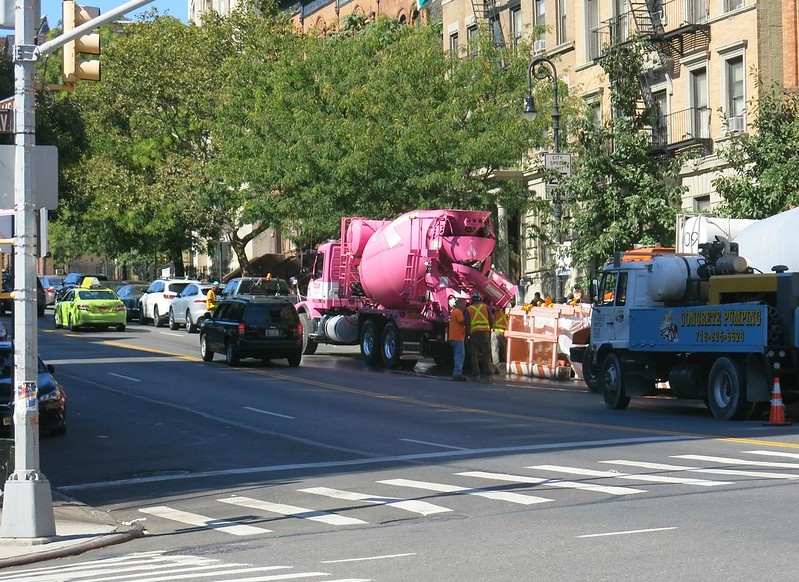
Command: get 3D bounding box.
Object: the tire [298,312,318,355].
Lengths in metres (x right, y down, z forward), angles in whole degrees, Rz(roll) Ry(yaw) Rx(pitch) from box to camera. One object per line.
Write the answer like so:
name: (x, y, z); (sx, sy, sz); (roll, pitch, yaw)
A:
tire: (-2.535, 1.175, 41.126); (0.443, 1.195, 1.215); (-2, -3, -21)

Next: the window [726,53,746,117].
window: (10.163, -5.956, 43.644); (0.191, 1.832, 0.751); (0, -2, -22)

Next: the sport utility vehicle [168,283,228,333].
sport utility vehicle: (-6.775, 0.584, 51.580); (1.819, 1.777, 4.343); (0, 1, -21)

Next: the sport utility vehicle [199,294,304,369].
sport utility vehicle: (-3.933, 1.075, 39.451); (2.214, 1.696, 4.157); (-1, 3, -26)

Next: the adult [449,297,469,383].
adult: (1.471, 1.193, 36.154); (0.461, 1.975, 0.759); (-2, 6, 3)

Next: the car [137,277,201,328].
car: (-8.694, 0.376, 53.737); (1.495, 1.531, 3.794); (0, 0, -33)

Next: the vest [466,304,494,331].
vest: (1.990, 0.664, 36.346); (0.578, 0.732, 0.407); (2, -23, -10)

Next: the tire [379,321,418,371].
tire: (0.007, 1.448, 38.976); (0.603, 1.413, 1.438); (0, -2, -23)

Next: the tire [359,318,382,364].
tire: (-0.738, 1.369, 39.929); (0.452, 1.239, 1.261); (2, -2, -23)

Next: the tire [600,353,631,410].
tire: (4.578, 1.932, 30.770); (0.382, 1.165, 1.036); (3, -11, -22)
